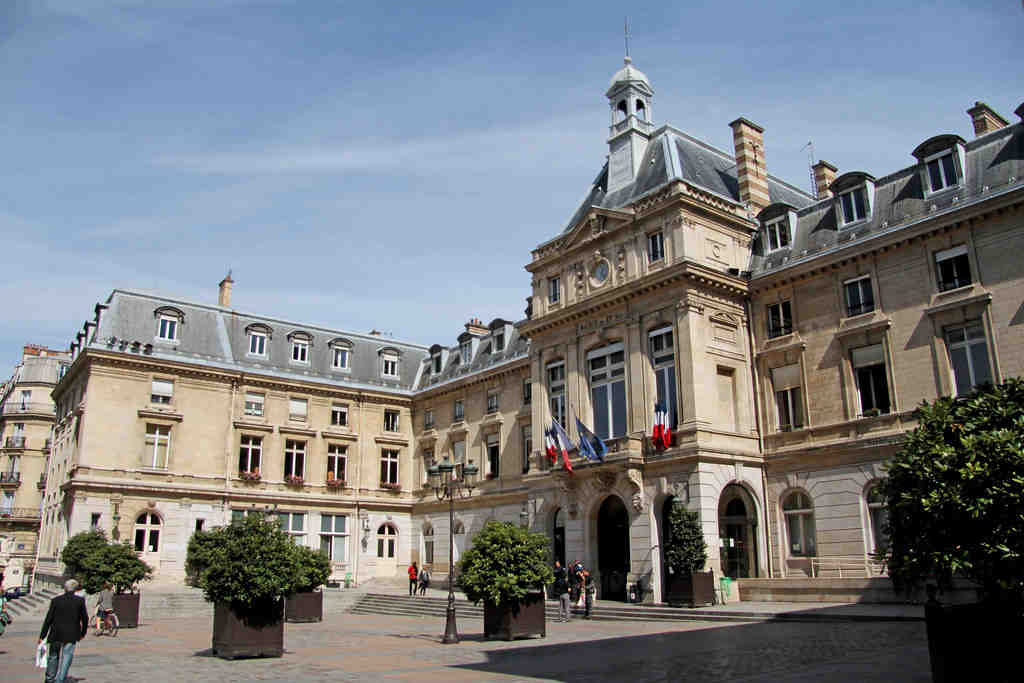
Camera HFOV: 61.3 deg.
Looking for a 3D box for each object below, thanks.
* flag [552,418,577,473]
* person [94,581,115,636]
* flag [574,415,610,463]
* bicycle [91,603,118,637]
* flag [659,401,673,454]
[{"bbox_3d":[2.413,5.075,41.206,0.975,2.379,1.429,1,-20,-2],"label":"flag"},{"bbox_3d":[-15.235,10.114,32.669,0.809,1.884,1.132,9,-22,-24],"label":"person"},{"bbox_3d":[3.655,4.605,40.438,1.348,2.311,1.633,-2,-20,4],"label":"flag"},{"bbox_3d":[-15.339,10.721,32.578,1.457,0.858,0.728,-35,-33,24],"label":"bicycle"},{"bbox_3d":[6.748,3.754,38.176,0.425,1.963,0.807,-10,-22,24],"label":"flag"}]
